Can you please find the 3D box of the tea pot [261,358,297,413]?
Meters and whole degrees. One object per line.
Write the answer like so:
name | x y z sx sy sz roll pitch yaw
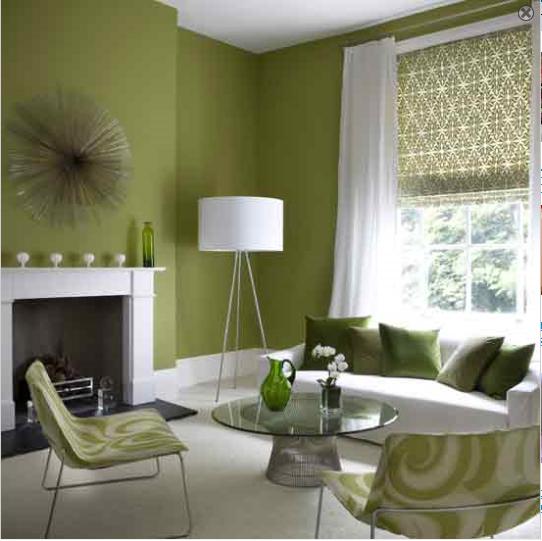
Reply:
tea pot | 0.037 0.606 2.742 0.174 0.288 0.201 0 1 3

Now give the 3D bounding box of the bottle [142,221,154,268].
bottle | -1.052 -0.221 4.428 0.103 0.402 0.298 0 1 -13

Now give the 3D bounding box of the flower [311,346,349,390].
flower | 0.301 0.502 2.637 0.163 0.230 0.122 2 -7 21

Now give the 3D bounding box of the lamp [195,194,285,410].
lamp | -0.257 0.243 4.666 0.698 1.919 0.703 9 15 34
